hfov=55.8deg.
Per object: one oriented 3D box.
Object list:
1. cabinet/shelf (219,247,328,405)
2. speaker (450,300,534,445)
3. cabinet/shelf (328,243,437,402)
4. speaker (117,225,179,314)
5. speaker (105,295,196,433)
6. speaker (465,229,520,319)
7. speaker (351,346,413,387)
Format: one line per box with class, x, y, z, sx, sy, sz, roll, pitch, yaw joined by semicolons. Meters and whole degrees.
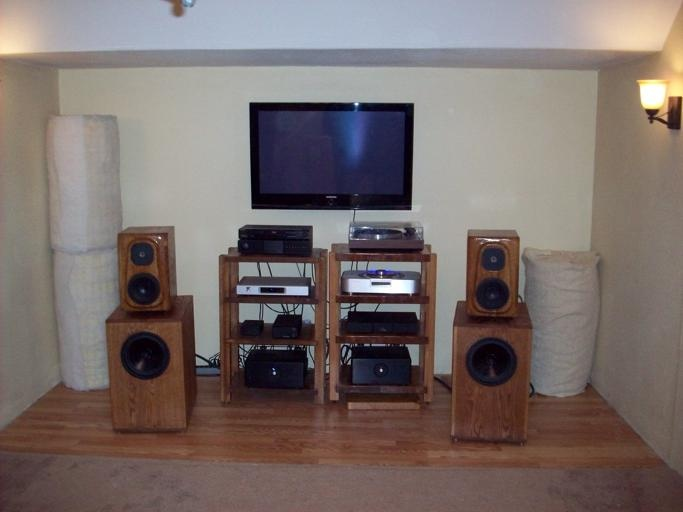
cabinet/shelf;-0.461;0.492;4.613;0.739;1.094;0.558;1;8;5
speaker;0.980;0.983;4.172;0.474;0.621;0.868;-3;44;17
cabinet/shelf;0.286;0.494;4.539;0.730;1.068;0.523;1;5;6
speaker;-1.289;0.149;4.150;0.369;0.533;0.357;7;-21;-42
speaker;-1.265;0.645;4.291;0.470;0.820;0.618;0;24;-13
speaker;0.957;0.095;4.103;0.296;0.551;0.310;0;20;11
speaker;0.269;0.757;4.440;0.340;0.180;0.253;0;4;3
